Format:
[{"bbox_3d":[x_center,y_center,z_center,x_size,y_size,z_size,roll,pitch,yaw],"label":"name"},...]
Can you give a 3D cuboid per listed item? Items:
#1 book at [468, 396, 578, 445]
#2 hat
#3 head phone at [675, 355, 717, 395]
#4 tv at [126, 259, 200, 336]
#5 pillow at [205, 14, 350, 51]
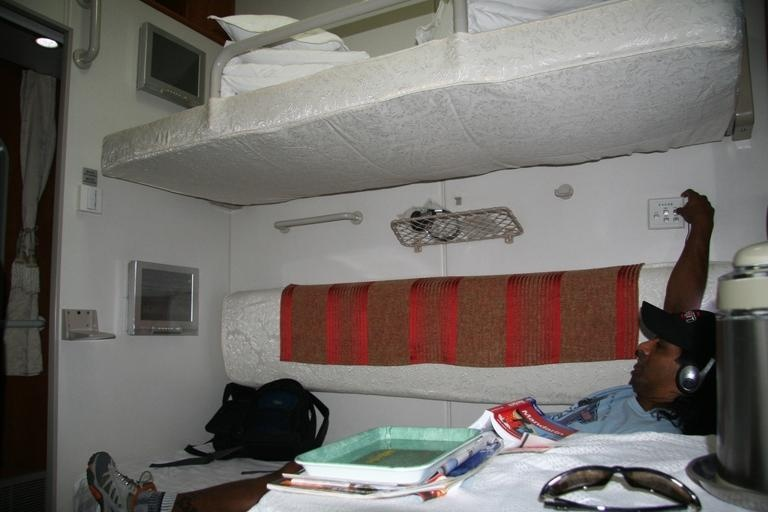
[{"bbox_3d":[0.443,0.539,1.823,0.241,0.062,0.176,7,17,44],"label":"book"},{"bbox_3d":[0.919,0.242,1.771,0.195,0.185,0.248,1,3,24],"label":"hat"},{"bbox_3d":[0.939,0.362,1.694,0.101,0.067,0.058,-13,22,26],"label":"head phone"},{"bbox_3d":[-1.312,0.245,3.263,0.078,0.394,0.451,-9,-11,29],"label":"tv"},{"bbox_3d":[-0.532,-1.146,2.871,0.384,0.096,0.346,4,18,-23],"label":"pillow"}]
